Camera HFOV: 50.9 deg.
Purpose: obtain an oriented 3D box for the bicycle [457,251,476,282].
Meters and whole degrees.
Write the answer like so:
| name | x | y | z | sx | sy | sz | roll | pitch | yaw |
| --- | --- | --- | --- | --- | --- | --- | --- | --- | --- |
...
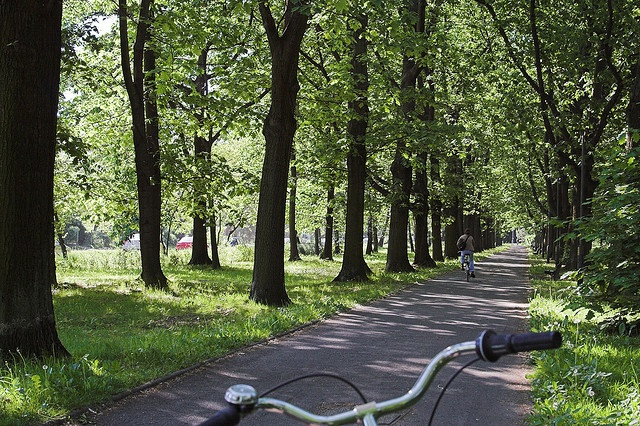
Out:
| name | x | y | z | sx | sy | sz | roll | pitch | yaw |
| --- | --- | --- | --- | --- | --- | --- | --- | --- | --- |
| bicycle | 6.201 | 2.056 | 28.173 | 0.785 | 0.965 | 1.618 | -1 | 4 | 10 |

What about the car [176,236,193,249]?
| name | x | y | z | sx | sy | sz | roll | pitch | yaw |
| --- | --- | --- | --- | --- | --- | --- | --- | --- | --- |
| car | -14.502 | 3.083 | 71.956 | 1.365 | 0.996 | 2.912 | 1 | 2 | -13 |
